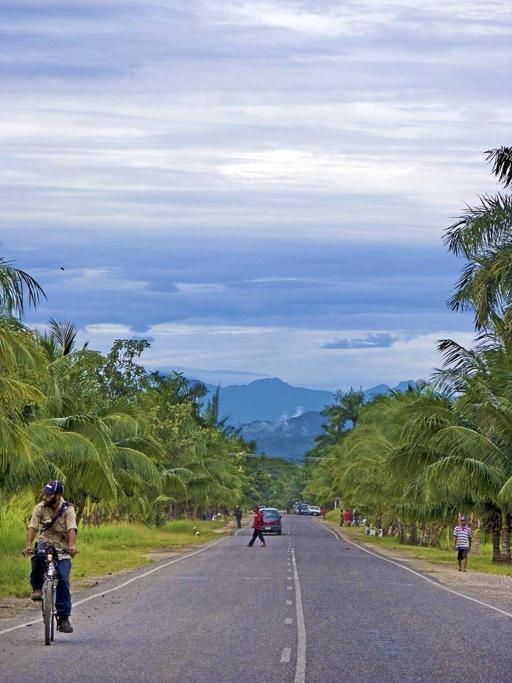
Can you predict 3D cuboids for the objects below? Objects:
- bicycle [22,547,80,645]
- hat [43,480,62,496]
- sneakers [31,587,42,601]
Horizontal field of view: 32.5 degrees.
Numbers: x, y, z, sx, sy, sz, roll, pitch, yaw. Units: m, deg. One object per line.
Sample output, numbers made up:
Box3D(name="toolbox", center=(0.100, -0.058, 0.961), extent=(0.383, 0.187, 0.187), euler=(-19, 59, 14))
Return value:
Box3D(name="bicycle", center=(-2.378, 2.987, 10.346), extent=(0.442, 1.125, 0.988), euler=(2, -7, -13))
Box3D(name="hat", center=(-2.408, 1.781, 10.585), extent=(0.139, 0.139, 0.220), euler=(2, 12, -3))
Box3D(name="sneakers", center=(-2.481, 2.896, 10.020), extent=(0.089, 0.127, 0.273), euler=(1, -13, -12))
